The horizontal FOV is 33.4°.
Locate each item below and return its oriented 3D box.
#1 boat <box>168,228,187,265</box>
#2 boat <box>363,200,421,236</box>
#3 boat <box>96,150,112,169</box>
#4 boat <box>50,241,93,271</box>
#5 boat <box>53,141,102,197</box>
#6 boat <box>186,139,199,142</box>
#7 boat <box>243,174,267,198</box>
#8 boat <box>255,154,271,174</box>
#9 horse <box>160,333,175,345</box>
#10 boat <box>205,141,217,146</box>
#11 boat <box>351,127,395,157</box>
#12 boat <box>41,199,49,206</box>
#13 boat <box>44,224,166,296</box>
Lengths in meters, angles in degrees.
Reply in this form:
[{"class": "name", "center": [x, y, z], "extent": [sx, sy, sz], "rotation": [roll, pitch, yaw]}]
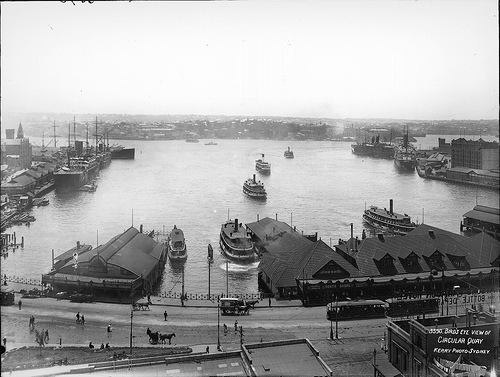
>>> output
[{"class": "boat", "center": [-2.058, 1.716, 23.977], "extent": [0.316, 0.453, 1.221], "rotation": [2, 16, -6]}, {"class": "boat", "center": [4.597, 0.861, 27.421], "extent": [0.918, 1.068, 2.863], "rotation": [-4, 11, -24]}, {"class": "boat", "center": [-8.809, -1.709, 50.447], "extent": [0.943, 1.138, 4.196], "rotation": [-2, 4, -4]}, {"class": "boat", "center": [-4.825, 1.838, 22.697], "extent": [0.559, 0.774, 1.907], "rotation": [5, 12, 6]}, {"class": "boat", "center": [-8.895, -0.810, 41.219], "extent": [1.059, 1.998, 5.740], "rotation": [1, 6, -2]}, {"class": "boat", "center": [-5.301, -4.418, 78.025], "extent": [1.119, 0.237, 0.855], "rotation": [-3, 8, -15]}, {"class": "boat", "center": [0.061, -0.211, 36.764], "extent": [1.621, 0.605, 0.496], "rotation": [5, 6, -21]}, {"class": "boat", "center": [0.791, -1.225, 46.849], "extent": [0.488, 0.731, 1.441], "rotation": [0, 12, -6]}, {"class": "horse", "center": [-1.673, 3.084, 17.216], "extent": [0.242, 0.184, 0.380], "rotation": [0, 8, 9]}, {"class": "boat", "center": [-3.393, -3.933, 74.352], "extent": [0.884, 0.220, 2.015], "rotation": [1, 8, 13]}, {"class": "boat", "center": [9.853, -3.592, 65.635], "extent": [2.614, 1.804, 4.980], "rotation": [2, 7, 11]}, {"class": "boat", "center": [-8.374, 0.596, 34.123], "extent": [0.266, 0.273, 0.416], "rotation": [-6, 4, -32]}, {"class": "boat", "center": [-3.317, 1.917, 20.796], "extent": [1.543, 0.647, 2.320], "rotation": [2, 13, 0]}]
